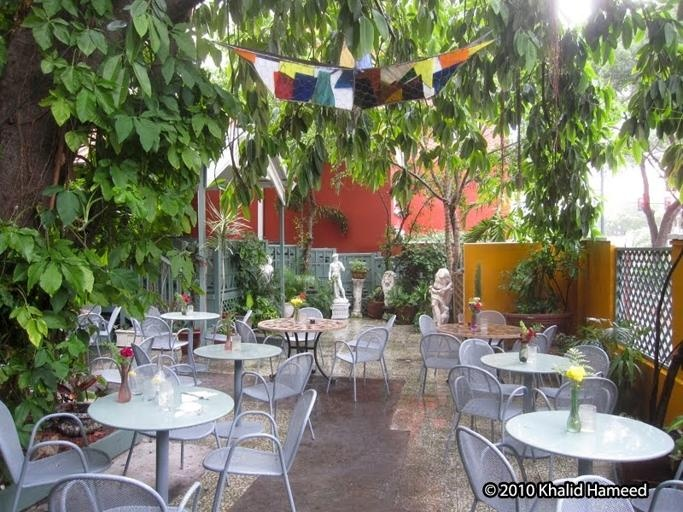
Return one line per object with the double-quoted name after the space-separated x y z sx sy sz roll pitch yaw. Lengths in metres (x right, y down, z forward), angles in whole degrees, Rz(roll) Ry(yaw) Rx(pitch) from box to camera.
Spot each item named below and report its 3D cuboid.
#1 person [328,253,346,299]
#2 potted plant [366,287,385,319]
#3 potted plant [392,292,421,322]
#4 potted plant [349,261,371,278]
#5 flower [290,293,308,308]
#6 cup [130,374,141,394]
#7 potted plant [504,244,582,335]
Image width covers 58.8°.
-0.110 0.485 14.269 0.343 1.070 0.618 1 -1 -2 "person"
0.806 1.121 14.260 0.531 0.667 0.574 -1 -8 26 "potted plant"
1.497 1.143 13.514 0.537 0.632 0.526 0 2 -41 "potted plant"
0.451 0.343 14.967 0.356 0.404 0.381 2 -6 -21 "potted plant"
-0.775 0.787 10.775 0.272 0.345 0.307 0 3 10 "flower"
-1.568 0.968 4.624 0.088 0.174 0.088 1 -1 0 "cup"
3.429 0.513 9.625 1.246 1.769 1.119 2 0 -37 "potted plant"
